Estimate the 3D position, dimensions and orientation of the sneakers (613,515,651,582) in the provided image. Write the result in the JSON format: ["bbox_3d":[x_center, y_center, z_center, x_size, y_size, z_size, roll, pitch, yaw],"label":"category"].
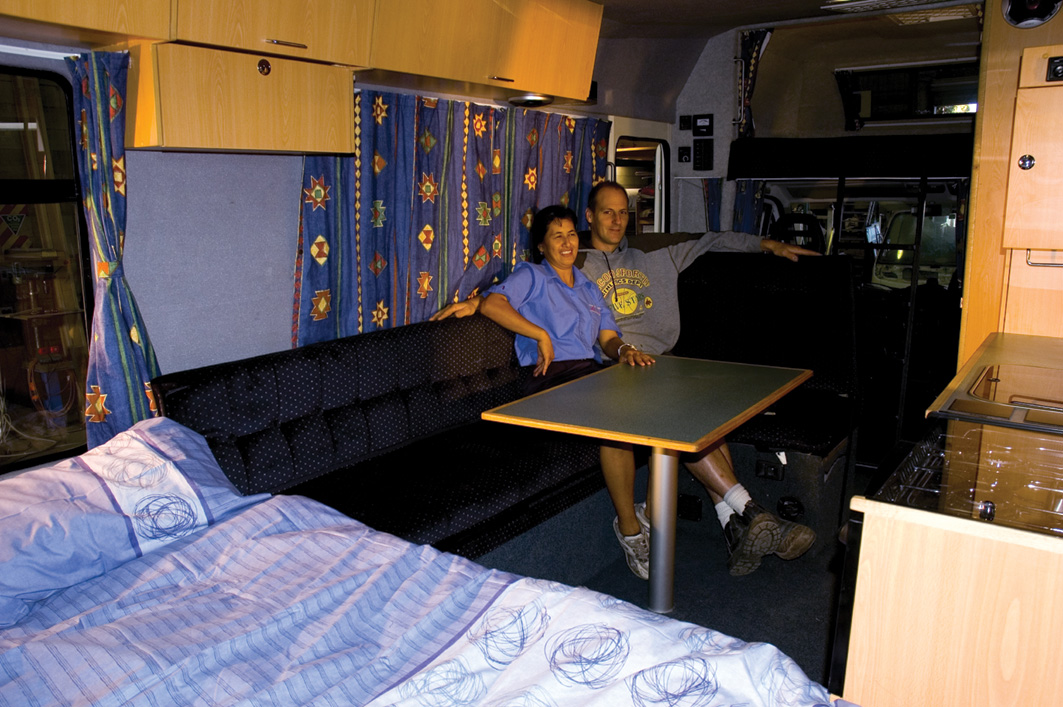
[{"bbox_3d":[0.479,0.930,3.477,0.128,0.327,0.126,-19,0,-11],"label":"sneakers"}]
